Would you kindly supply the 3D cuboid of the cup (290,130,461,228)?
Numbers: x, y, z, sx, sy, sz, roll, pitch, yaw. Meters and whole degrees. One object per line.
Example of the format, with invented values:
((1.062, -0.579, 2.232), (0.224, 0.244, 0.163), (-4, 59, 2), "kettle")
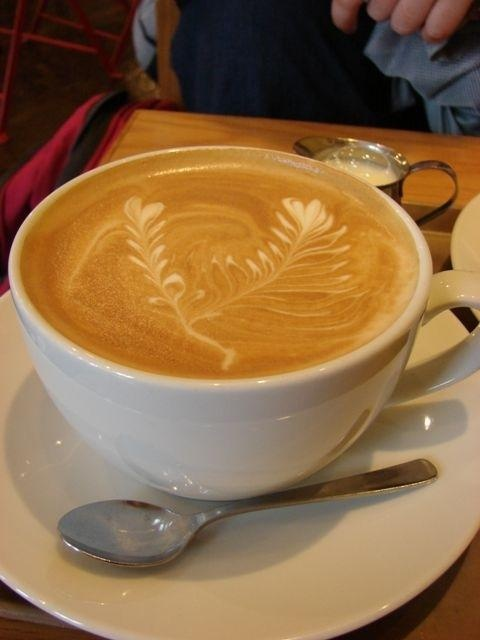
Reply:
((0.209, -0.197, 0.924), (0.246, 0.150, 0.132), (16, 50, 17), "cup")

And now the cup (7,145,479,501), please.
((0.009, 0.009, 0.420), (0.305, 0.126, 0.224), (3, 38, 2), "cup")
